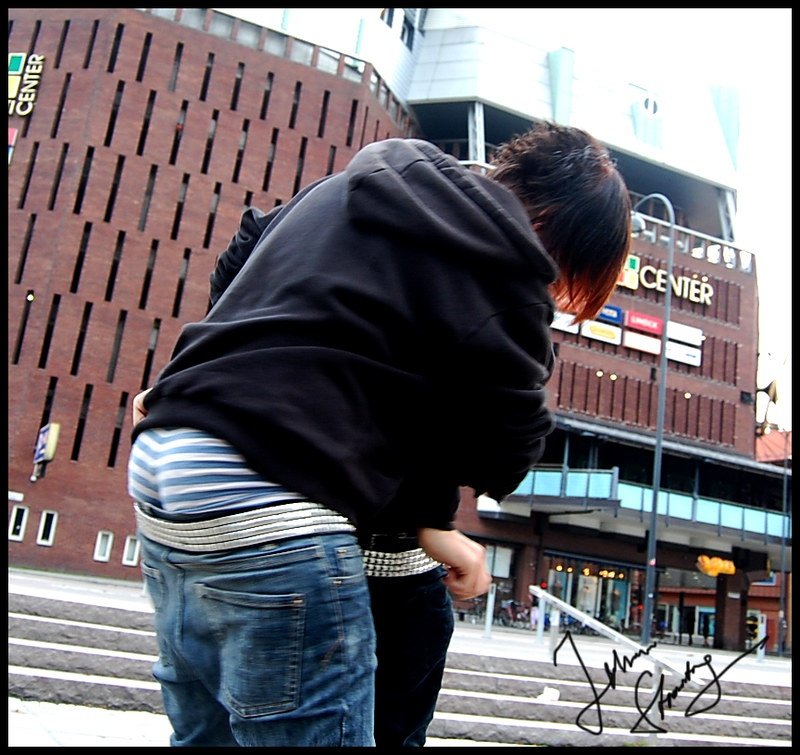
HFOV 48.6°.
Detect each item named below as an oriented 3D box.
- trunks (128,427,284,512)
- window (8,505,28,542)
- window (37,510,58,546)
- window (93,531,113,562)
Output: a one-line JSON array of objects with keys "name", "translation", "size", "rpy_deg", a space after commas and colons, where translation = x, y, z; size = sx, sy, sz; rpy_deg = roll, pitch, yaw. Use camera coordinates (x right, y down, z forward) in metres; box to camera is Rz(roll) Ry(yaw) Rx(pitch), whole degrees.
[{"name": "trunks", "translation": [-0.404, 0.215, 1.995], "size": [0.338, 0.107, 0.208], "rpy_deg": [11, -32, -19]}, {"name": "window", "translation": [-10.060, 3.861, 23.296], "size": [0.449, 0.919, 0.718], "rpy_deg": [14, -14, -19]}, {"name": "window", "translation": [-9.352, 4.023, 23.456], "size": [0.446, 0.921, 0.358], "rpy_deg": [14, -15, -18]}, {"name": "window", "translation": [-7.943, 4.560, 23.699], "size": [0.473, 0.823, 0.188], "rpy_deg": [12, -15, -11]}]
